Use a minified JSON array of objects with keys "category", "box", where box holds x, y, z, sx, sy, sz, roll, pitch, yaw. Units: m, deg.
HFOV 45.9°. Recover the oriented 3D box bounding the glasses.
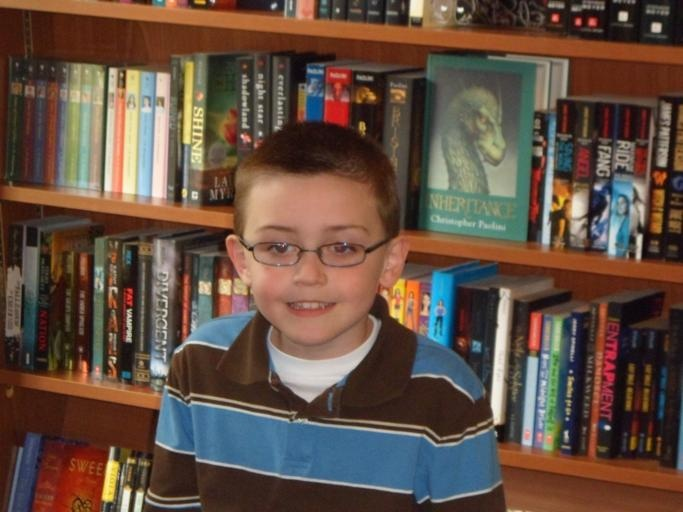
[{"category":"glasses","box":[-0.043,-0.005,1.409,0.240,0.051,0.082,2,1,3]}]
